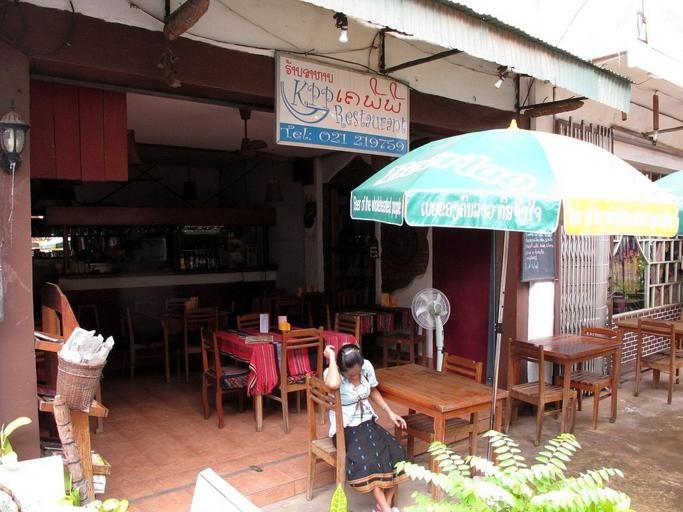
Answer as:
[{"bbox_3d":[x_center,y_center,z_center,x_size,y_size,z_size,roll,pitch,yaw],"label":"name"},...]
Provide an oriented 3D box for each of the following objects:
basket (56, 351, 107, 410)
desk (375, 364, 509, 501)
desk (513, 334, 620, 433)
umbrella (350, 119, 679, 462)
[{"bbox_3d":[-1.888,0.937,4.005,0.302,0.456,0.206,-2,7,-30],"label":"basket"},{"bbox_3d":[1.097,1.799,5.845,0.875,0.979,1.635,13,-8,19],"label":"desk"},{"bbox_3d":[2.776,1.240,7.063,1.375,1.237,1.045,-1,2,-35],"label":"desk"},{"bbox_3d":[1.246,0.042,4.761,2.263,2.605,2.246,2,2,-37],"label":"umbrella"}]
